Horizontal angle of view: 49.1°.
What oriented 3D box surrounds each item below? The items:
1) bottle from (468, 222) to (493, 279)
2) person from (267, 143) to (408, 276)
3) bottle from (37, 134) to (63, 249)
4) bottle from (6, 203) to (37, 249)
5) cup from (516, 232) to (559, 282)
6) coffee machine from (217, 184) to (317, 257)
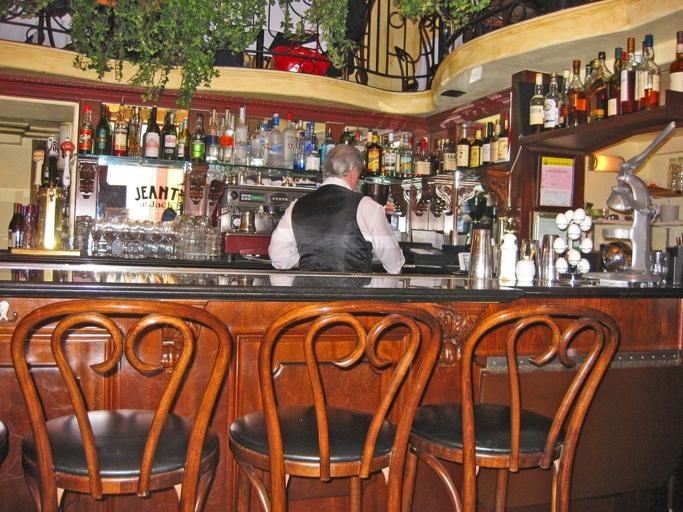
[{"bbox_3d":[0.709,-0.015,3.767,0.122,0.242,0.375,2,4,10],"label":"bottle"},{"bbox_3d":[-0.017,-0.052,4.489,0.747,1.170,0.584,4,-7,11],"label":"person"},{"bbox_3d":[-2.006,-0.383,5.101,0.165,0.641,0.322,-1,4,-23],"label":"bottle"},{"bbox_3d":[-2.238,-0.220,5.236,0.180,0.293,0.296,-1,4,-23],"label":"bottle"},{"bbox_3d":[0.990,0.012,3.782,0.266,0.306,0.173,0,2,-12],"label":"cup"},{"bbox_3d":[-0.573,-0.072,5.660,0.755,0.715,0.456,1,-2,-18],"label":"coffee machine"}]
